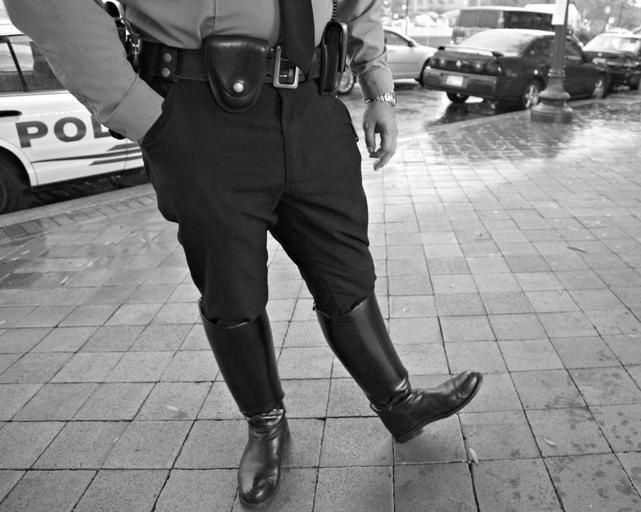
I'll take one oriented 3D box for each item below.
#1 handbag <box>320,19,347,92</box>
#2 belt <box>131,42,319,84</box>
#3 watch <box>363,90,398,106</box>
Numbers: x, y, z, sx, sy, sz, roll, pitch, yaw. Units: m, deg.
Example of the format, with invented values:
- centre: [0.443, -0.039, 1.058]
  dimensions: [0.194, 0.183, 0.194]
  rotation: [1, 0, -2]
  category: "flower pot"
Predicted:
- centre: [0.031, -0.604, 1.475]
  dimensions: [0.054, 0.193, 0.143]
  rotation: [8, 13, 36]
  category: "handbag"
- centre: [-0.261, -0.555, 1.369]
  dimensions: [0.513, 0.132, 0.154]
  rotation: [-10, 26, -13]
  category: "belt"
- centre: [0.211, -0.607, 1.808]
  dimensions: [0.079, 0.039, 0.071]
  rotation: [-3, 4, 44]
  category: "watch"
